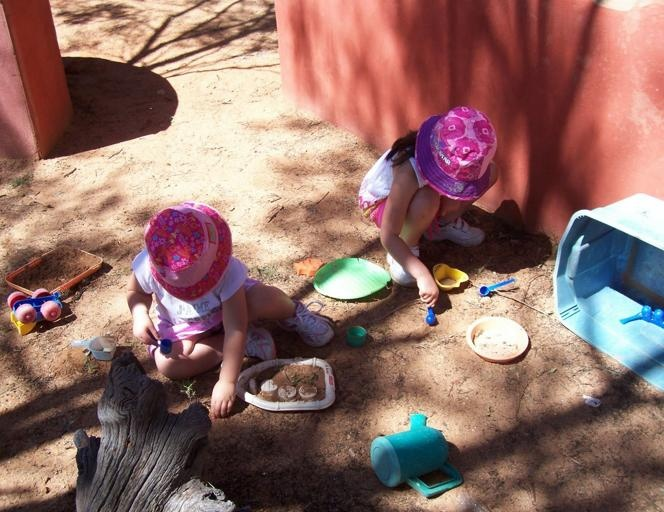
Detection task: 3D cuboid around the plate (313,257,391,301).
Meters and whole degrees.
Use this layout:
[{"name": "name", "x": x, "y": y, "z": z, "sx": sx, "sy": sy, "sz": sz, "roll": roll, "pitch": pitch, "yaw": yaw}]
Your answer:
[{"name": "plate", "x": 0.111, "y": 0.140, "z": 3.722, "sx": 0.336, "sy": 0.045, "sz": 0.285, "roll": 4, "pitch": 43, "yaw": 10}]

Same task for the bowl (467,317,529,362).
[{"name": "bowl", "x": 0.891, "y": 0.438, "z": 3.273, "sx": 0.307, "sy": 0.065, "sz": 0.281, "roll": -4, "pitch": 41, "yaw": 4}]

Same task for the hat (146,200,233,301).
[{"name": "hat", "x": -0.652, "y": -0.022, "z": 2.915, "sx": 0.293, "sy": 0.426, "sz": 0.384, "roll": 28, "pitch": 53, "yaw": 33}]

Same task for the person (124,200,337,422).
[{"name": "person", "x": -0.525, "y": 0.221, "z": 3.050, "sx": 1.036, "sy": 0.914, "sz": 0.787, "roll": -3, "pitch": 56, "yaw": -4}]

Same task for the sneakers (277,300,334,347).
[{"name": "sneakers", "x": -0.114, "y": 0.384, "z": 3.408, "sx": 0.345, "sy": 0.149, "sz": 0.163, "roll": 25, "pitch": 62, "yaw": 17}]

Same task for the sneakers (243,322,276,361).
[{"name": "sneakers", "x": -0.417, "y": 0.452, "z": 3.291, "sx": 0.238, "sy": 0.100, "sz": 0.086, "roll": 10, "pitch": 30, "yaw": 27}]

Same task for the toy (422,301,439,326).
[{"name": "toy", "x": 0.562, "y": 0.321, "z": 3.451, "sx": 0.071, "sy": 0.043, "sz": 0.155, "roll": 0, "pitch": 29, "yaw": 6}]

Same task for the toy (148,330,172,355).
[{"name": "toy", "x": -0.863, "y": 0.439, "z": 3.091, "sx": 0.131, "sy": 0.075, "sz": 0.049, "roll": 17, "pitch": 19, "yaw": 38}]

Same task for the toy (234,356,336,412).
[{"name": "toy", "x": -0.227, "y": 0.608, "z": 3.062, "sx": 0.364, "sy": 0.082, "sz": 0.252, "roll": 3, "pitch": 41, "yaw": -4}]

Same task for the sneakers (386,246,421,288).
[{"name": "sneakers", "x": 0.441, "y": 0.064, "z": 3.734, "sx": 0.119, "sy": 0.126, "sz": 0.297, "roll": -2, "pitch": 27, "yaw": -2}]

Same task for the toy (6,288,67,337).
[{"name": "toy", "x": -1.711, "y": 0.304, "z": 3.595, "sx": 0.285, "sy": 0.143, "sz": 0.298, "roll": -16, "pitch": 41, "yaw": -27}]

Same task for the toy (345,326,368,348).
[{"name": "toy", "x": 0.144, "y": 0.424, "z": 3.348, "sx": 0.105, "sy": 0.068, "sz": 0.108, "roll": 27, "pitch": 41, "yaw": 35}]

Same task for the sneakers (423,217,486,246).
[{"name": "sneakers", "x": 0.774, "y": -0.143, "z": 3.897, "sx": 0.391, "sy": 0.174, "sz": 0.161, "roll": 1, "pitch": 54, "yaw": 6}]

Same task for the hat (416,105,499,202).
[{"name": "hat", "x": 0.669, "y": -0.561, "z": 3.360, "sx": 0.427, "sy": 0.394, "sz": 0.360, "roll": 11, "pitch": 45, "yaw": 20}]
